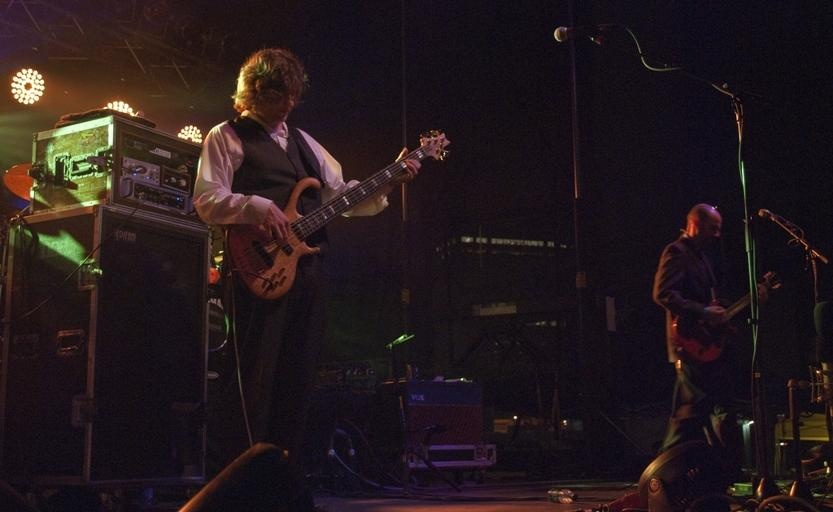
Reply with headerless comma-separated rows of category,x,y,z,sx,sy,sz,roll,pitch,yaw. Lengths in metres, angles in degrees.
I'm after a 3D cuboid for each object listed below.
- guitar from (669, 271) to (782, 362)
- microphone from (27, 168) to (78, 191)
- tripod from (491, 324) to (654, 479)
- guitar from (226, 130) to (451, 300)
guitar,2.763,0.518,7.177,1.229,0.505,0.180,-35,-5,-8
microphone,-2.834,-0.602,6.364,0.325,0.076,0.185,13,-6,-41
tripod,1.952,1.714,9.762,0.457,1.639,1.849,1,-3,-37
guitar,-0.607,-0.276,5.570,1.833,0.580,0.215,-29,15,32
